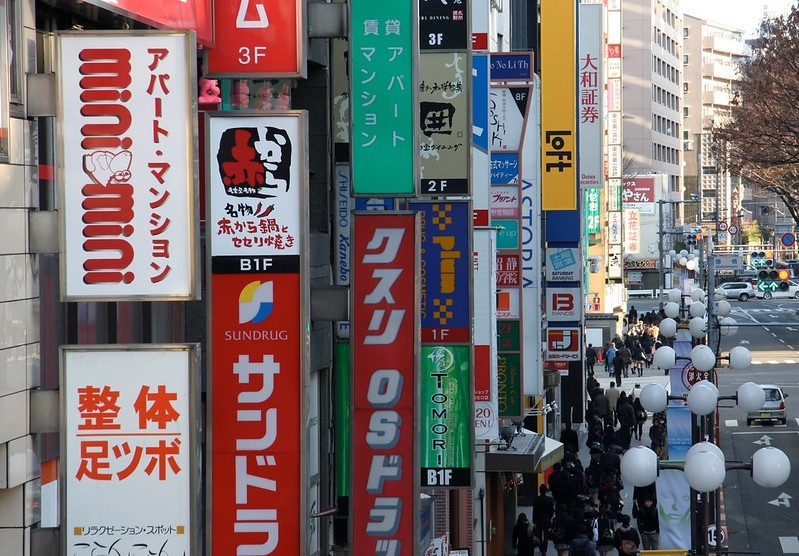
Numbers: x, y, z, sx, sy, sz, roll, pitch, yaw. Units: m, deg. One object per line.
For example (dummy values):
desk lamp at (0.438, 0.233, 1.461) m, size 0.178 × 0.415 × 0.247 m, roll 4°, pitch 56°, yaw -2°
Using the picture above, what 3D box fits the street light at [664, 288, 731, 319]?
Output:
street light at (6.748, 0.545, 36.627) m, size 1.448 × 0.396 × 1.399 m, roll -1°, pitch 4°, yaw 10°

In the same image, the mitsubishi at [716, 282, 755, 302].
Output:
mitsubishi at (18.075, 0.659, 86.402) m, size 2.987 × 1.016 × 1.309 m, roll 3°, pitch 1°, yaw 3°

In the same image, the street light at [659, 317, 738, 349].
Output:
street light at (5.967, 0.956, 32.050) m, size 1.310 × 0.334 × 1.274 m, roll 0°, pitch -2°, yaw 15°

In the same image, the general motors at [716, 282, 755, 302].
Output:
general motors at (18.075, 0.659, 86.402) m, size 2.987 × 1.016 × 1.309 m, roll 3°, pitch 1°, yaw 3°
